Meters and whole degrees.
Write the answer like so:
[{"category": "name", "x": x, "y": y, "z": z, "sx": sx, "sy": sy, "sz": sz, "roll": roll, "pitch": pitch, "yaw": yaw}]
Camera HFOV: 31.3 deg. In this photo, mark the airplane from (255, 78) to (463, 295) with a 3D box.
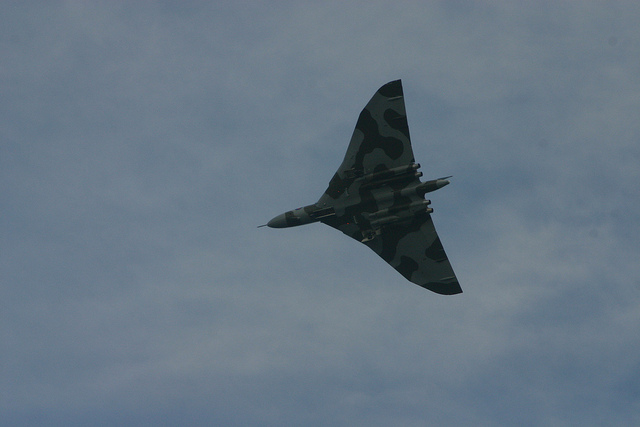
[{"category": "airplane", "x": 1.627, "y": -0.994, "z": 58.310, "sx": 9.418, "sy": 2.421, "sz": 9.729, "roll": -13, "pitch": -19, "yaw": -3}]
